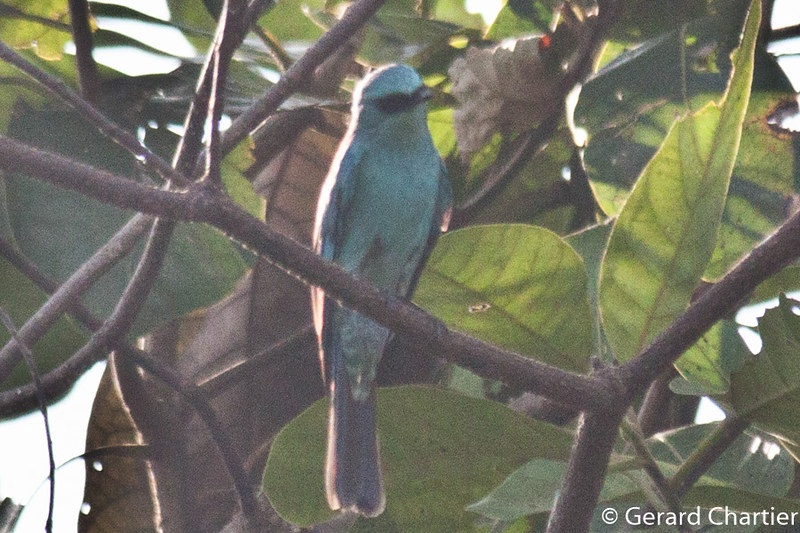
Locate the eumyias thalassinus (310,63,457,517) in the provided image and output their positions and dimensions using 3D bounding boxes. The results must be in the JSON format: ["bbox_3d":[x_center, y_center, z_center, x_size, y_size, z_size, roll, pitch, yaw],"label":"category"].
[{"bbox_3d":[-0.078,0.037,2.228,0.157,0.654,0.254,0,22,-21],"label":"eumyias thalassinus"}]
